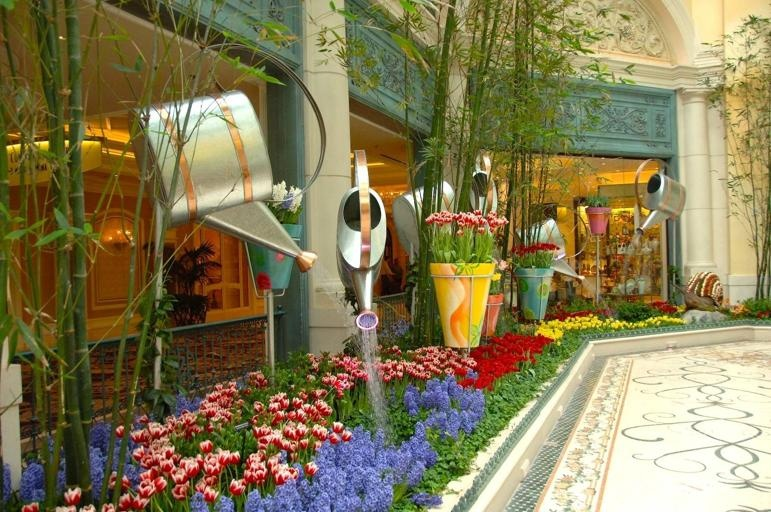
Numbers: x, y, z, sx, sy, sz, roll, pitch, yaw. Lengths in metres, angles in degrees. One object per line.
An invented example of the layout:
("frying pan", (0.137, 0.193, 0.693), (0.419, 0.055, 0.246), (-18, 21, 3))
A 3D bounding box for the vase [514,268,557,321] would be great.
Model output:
("vase", (1.564, 0.417, 5.854), (0.441, 0.536, 0.457), (1, 0, 22))

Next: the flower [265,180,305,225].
("flower", (-0.548, -0.309, 3.067), (0.250, 0.307, 0.264), (3, -5, -16))

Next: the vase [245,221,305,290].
("vase", (-0.627, 0.022, 3.042), (0.299, 0.297, 0.316), (-3, -1, 0))

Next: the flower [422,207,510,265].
("flower", (0.596, -0.091, 3.828), (0.590, 0.494, 0.680), (1, 3, 35))

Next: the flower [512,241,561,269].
("flower", (1.563, 0.007, 5.718), (0.455, 0.260, 0.323), (-4, 0, 13))

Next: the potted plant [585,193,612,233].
("potted plant", (2.918, -0.550, 7.516), (0.330, 0.517, 0.352), (0, 0, 45))

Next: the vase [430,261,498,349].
("vase", (0.528, 0.326, 3.693), (0.460, 0.535, 0.451), (2, 0, -3))
